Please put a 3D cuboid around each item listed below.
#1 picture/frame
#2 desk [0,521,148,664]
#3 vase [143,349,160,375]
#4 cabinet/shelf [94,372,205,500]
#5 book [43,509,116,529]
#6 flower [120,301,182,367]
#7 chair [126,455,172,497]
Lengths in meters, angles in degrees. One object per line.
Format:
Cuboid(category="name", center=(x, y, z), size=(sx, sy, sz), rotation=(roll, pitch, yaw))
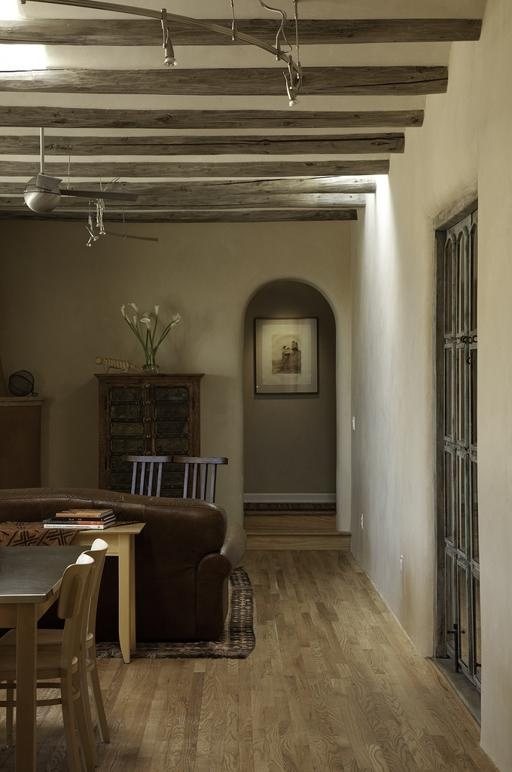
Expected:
Cuboid(category="picture/frame", center=(0.451, -0.444, 7.765), size=(0.838, 1.188, 0.048), rotation=(0, 8, 2))
Cuboid(category="desk", center=(-0.981, 1.103, 3.376), size=(0.535, 0.851, 0.746), rotation=(0, -2, 5))
Cuboid(category="vase", center=(-1.183, -0.264, 6.702), size=(0.200, 0.433, 0.261), rotation=(2, 1, 0))
Cuboid(category="cabinet/shelf", center=(-1.109, 0.504, 6.037), size=(1.060, 2.273, 0.529), rotation=(0, -2, -4))
Cuboid(category="book", center=(-0.981, 0.719, 3.205), size=(0.379, 0.092, 0.261), rotation=(2, -8, -16))
Cuboid(category="flower", center=(-1.245, -0.555, 6.717), size=(0.725, 0.833, 0.373), rotation=(0, -6, -1))
Cuboid(category="chair", center=(-1.055, 0.856, 5.700), size=(0.368, 0.564, 0.372), rotation=(0, -9, 2))
